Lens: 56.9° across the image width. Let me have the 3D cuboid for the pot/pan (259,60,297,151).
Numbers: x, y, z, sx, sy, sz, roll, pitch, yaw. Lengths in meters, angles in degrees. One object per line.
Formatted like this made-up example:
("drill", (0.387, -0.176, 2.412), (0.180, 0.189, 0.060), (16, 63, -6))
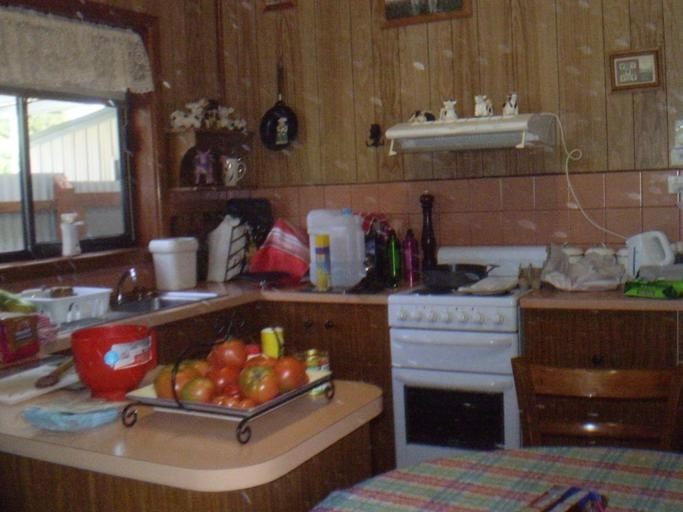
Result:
("pot/pan", (-0.406, -0.975, 4.107), (0.237, 0.559, 0.131), (3, 11, 33))

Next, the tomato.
("tomato", (-0.266, 0.253, 1.590), (0.202, 0.062, 0.223), (3, 5, 28))

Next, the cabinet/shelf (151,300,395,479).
("cabinet/shelf", (-0.415, 0.479, 3.330), (1.226, 1.139, 0.950), (1, 3, 29))

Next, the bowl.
("bowl", (-0.625, 0.296, 1.760), (0.263, 0.175, 0.199), (-4, 5, -31))

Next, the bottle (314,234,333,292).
("bottle", (-0.098, 0.031, 3.420), (0.080, 0.292, 0.101), (-4, 9, -4))

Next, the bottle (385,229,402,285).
("bottle", (0.298, 0.005, 3.523), (0.074, 0.281, 0.236), (-2, 9, 5))

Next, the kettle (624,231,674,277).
("kettle", (1.481, -0.019, 3.043), (0.259, 0.259, 0.165), (-2, 2, 26))

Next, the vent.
("vent", (0.681, -0.646, 3.351), (0.827, 0.168, 0.394), (1, 10, 20))
